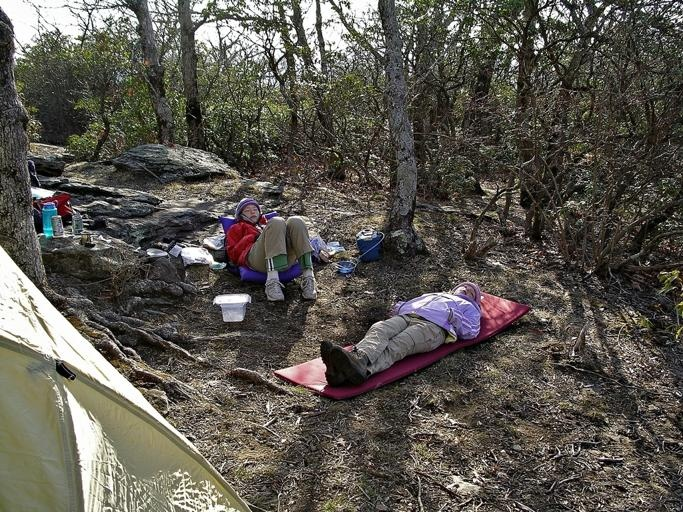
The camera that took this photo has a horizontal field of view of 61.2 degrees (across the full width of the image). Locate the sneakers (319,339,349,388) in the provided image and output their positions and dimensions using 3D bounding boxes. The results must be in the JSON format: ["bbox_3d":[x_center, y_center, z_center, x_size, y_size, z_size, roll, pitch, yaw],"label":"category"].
[{"bbox_3d":[-0.079,0.972,5.205,0.177,0.479,0.220,-16,0,14],"label":"sneakers"}]

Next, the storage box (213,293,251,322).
[{"bbox_3d":[-1.171,0.549,6.169,0.386,0.217,0.271,1,21,-3],"label":"storage box"}]

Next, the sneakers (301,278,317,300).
[{"bbox_3d":[-0.385,0.393,6.913,0.183,0.262,0.217,-4,15,-5],"label":"sneakers"}]

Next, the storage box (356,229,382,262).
[{"bbox_3d":[0.387,-0.157,8.151,0.378,0.402,0.410,20,31,40],"label":"storage box"}]

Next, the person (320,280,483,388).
[{"bbox_3d":[0.616,0.796,5.608,1.631,0.455,0.737,-22,-2,-40],"label":"person"}]

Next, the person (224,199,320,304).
[{"bbox_3d":[-0.852,-0.161,7.233,0.872,1.538,1.333,-1,-12,-41],"label":"person"}]

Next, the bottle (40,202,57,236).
[{"bbox_3d":[-3.051,-0.372,6.044,0.158,0.342,0.308,-10,16,-25],"label":"bottle"}]

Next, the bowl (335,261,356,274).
[{"bbox_3d":[0.070,0.154,7.637,0.178,0.072,0.171,-3,39,2],"label":"bowl"}]

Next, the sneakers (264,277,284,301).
[{"bbox_3d":[-0.784,0.392,6.793,0.221,0.268,0.304,-4,15,-7],"label":"sneakers"}]
